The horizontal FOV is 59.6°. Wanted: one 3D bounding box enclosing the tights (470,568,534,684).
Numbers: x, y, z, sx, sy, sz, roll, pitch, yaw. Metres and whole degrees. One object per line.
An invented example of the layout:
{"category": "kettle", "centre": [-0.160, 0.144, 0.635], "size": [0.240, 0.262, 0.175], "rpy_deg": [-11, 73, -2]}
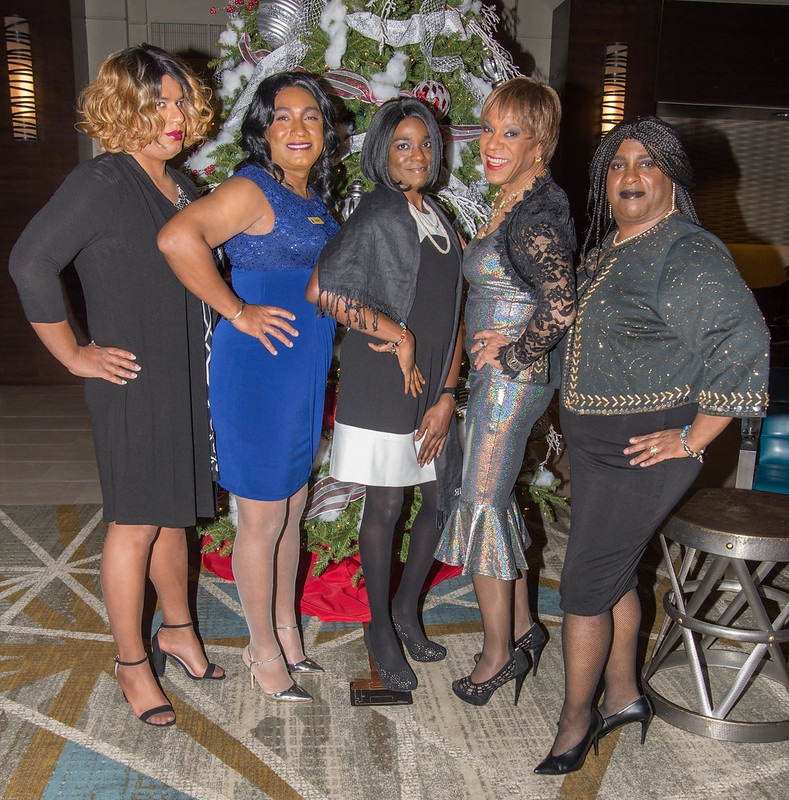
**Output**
{"category": "tights", "centre": [0.301, 0.691, 2.034], "size": [0.271, 0.098, 0.385], "rpy_deg": [3, 48, 2]}

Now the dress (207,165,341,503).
{"category": "dress", "centre": [-0.343, -0.172, 1.917], "size": [0.337, 0.915, 0.184], "rpy_deg": [-1, 13, -12]}

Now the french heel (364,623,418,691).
{"category": "french heel", "centre": [-0.023, 0.821, 2.192], "size": [0.110, 0.037, 0.252], "rpy_deg": [-21, 66, -24]}

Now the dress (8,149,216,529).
{"category": "dress", "centre": [-0.743, -0.137, 1.853], "size": [0.483, 1.030, 0.181], "rpy_deg": [-1, 13, -13]}

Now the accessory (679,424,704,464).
{"category": "accessory", "centre": [0.690, 0.100, 1.604], "size": [0.077, 0.081, 0.021], "rpy_deg": [1, -26, -43]}

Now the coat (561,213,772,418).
{"category": "coat", "centre": [0.626, -0.178, 1.581], "size": [0.135, 0.478, 0.428], "rpy_deg": [-8, 15, -36]}

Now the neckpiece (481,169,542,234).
{"category": "neckpiece", "centre": [0.303, -0.537, 1.870], "size": [0.237, 0.029, 0.084], "rpy_deg": [-43, 23, -14]}
